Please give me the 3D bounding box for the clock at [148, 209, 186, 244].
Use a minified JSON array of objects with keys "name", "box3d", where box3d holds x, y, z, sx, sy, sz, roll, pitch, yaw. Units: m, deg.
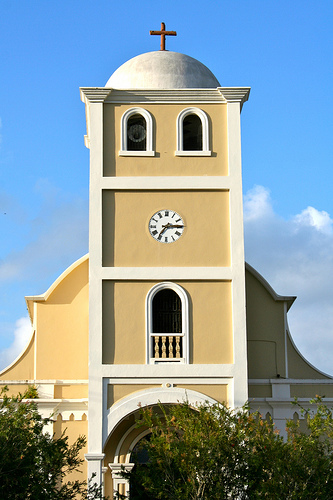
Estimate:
[{"name":"clock","box3d":[0.035,-0.537,32.642,0.623,0.780,0.077,5,-18,-2]}]
